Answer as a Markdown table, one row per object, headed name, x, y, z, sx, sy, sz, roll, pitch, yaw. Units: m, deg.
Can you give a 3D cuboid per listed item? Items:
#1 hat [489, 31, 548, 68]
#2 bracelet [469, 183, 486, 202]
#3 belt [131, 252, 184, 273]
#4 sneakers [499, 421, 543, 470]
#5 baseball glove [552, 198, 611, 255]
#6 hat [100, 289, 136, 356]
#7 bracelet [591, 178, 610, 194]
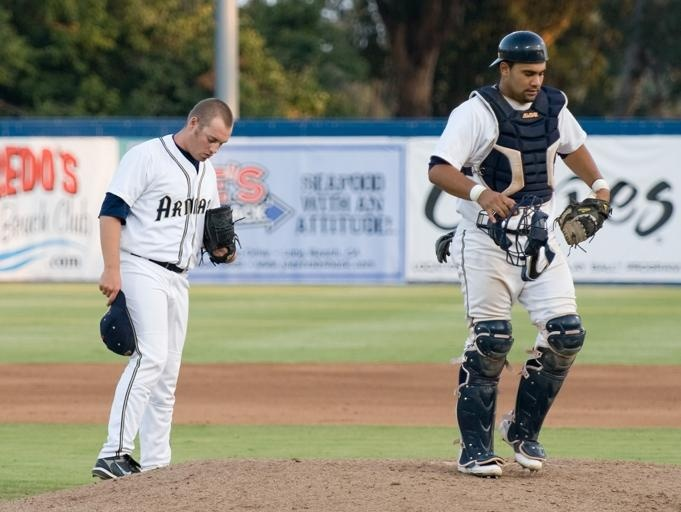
| name | x | y | z | sx | sy | sz | roll | pitch | yaw |
| --- | --- | --- | --- | --- | --- | --- | --- | --- | --- |
| hat | 1.805 | -2.121 | 16.056 | 0.451 | 0.238 | 0.348 | 2 | 7 | 43 |
| bracelet | 1.386 | -0.648 | 15.909 | 0.169 | 0.161 | 0.168 | 22 | 16 | 3 |
| belt | -1.827 | 0.113 | 16.272 | 0.306 | 0.067 | 0.271 | 22 | 0 | 21 |
| sneakers | 1.861 | 1.949 | 16.263 | 0.269 | 0.277 | 0.654 | -10 | 28 | -31 |
| baseball glove | 2.488 | -0.339 | 16.175 | 0.448 | 0.579 | 0.281 | 41 | -15 | -17 |
| hat | -2.204 | 0.698 | 16.242 | 0.279 | 0.613 | 0.417 | -17 | 4 | -41 |
| bracelet | 2.713 | -0.730 | 16.407 | 0.170 | 0.147 | 0.154 | 4 | -12 | -9 |
